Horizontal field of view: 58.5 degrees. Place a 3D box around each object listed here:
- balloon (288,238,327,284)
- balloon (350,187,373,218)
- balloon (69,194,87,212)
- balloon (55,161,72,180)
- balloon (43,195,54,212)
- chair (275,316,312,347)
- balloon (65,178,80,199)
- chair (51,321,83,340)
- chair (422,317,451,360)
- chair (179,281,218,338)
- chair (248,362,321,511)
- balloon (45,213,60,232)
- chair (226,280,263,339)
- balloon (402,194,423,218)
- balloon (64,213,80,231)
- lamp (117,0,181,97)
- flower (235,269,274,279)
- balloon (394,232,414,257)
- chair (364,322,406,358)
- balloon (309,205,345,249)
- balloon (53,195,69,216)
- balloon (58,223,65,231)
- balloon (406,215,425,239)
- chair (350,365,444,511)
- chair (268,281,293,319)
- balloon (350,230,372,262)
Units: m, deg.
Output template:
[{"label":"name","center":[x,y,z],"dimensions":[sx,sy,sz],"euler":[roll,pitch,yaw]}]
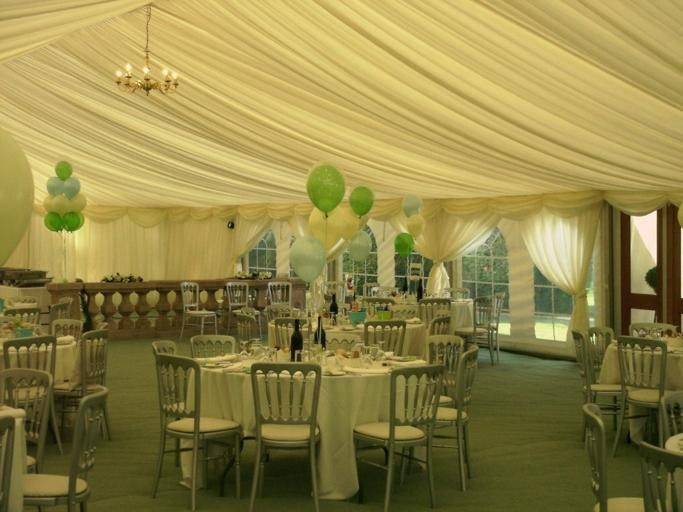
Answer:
[{"label":"balloon","center":[-0.314,0.048,5.745],"dimensions":[0.380,0.506,0.383],"euler":[-2,-13,-10]},{"label":"balloon","center":[0.254,-0.688,7.879],"dimensions":[0.326,0.436,0.338],"euler":[-1,11,-9]},{"label":"balloon","center":[-4.525,-0.888,10.602],"dimensions":[0.252,0.318,0.267],"euler":[6,32,0]},{"label":"balloon","center":[-4.716,-1.447,10.385],"dimensions":[0.209,0.350,0.320],"euler":[1,-6,-20]},{"label":"balloon","center":[-4.977,-0.907,10.394],"dimensions":[0.132,0.318,0.466],"euler":[2,-6,-28]},{"label":"chair","center":[-0.574,0.892,7.223],"dimensions":[0.455,0.477,0.488],"euler":[0,-5,6]},{"label":"balloon","center":[-4.585,-1.142,10.384],"dimensions":[0.234,0.358,0.270],"euler":[1,-6,-26]},{"label":"chair","center":[-3.032,0.825,6.746],"dimensions":[0.196,0.349,0.222],"euler":[0,-7,-4]},{"label":"chair","center":[1.187,0.901,7.387],"dimensions":[0.251,0.381,0.276],"euler":[1,-1,9]},{"label":"chair","center":[-2.838,1.025,12.092],"dimensions":[0.672,1.055,1.686],"euler":[0,-6,-15]},{"label":"chair","center":[-0.418,1.346,4.603],"dimensions":[0.550,1.096,0.446],"euler":[-1,-5,-3]},{"label":"balloon","center":[-4.899,-0.596,10.427],"dimensions":[0.272,0.284,0.260],"euler":[2,-6,-27]},{"label":"chair","center":[-1.951,0.977,12.099],"dimensions":[0.687,1.100,1.772],"euler":[0,-6,-10]},{"label":"balloon","center":[1.164,-0.808,10.087],"dimensions":[0.295,0.521,0.359],"euler":[2,1,20]},{"label":"balloon","center":[-4.625,-0.594,10.526],"dimensions":[0.278,0.296,0.294],"euler":[1,-6,-26]},{"label":"lamp","center":[-2.563,-2.652,8.050],"dimensions":[0.918,1.401,0.907],"euler":[-6,13,-38]},{"label":"flower","center":[-1.935,0.444,13.575],"dimensions":[0.803,0.238,0.948],"euler":[3,-7,-36]},{"label":"balloon","center":[1.041,-0.200,10.084],"dimensions":[0.292,0.393,0.368],"euler":[-1,-5,5]},{"label":"chair","center":[0.524,0.943,7.239],"dimensions":[0.398,0.733,0.437],"euler":[1,3,-1]},{"label":"balloon","center":[-0.227,-0.399,8.371],"dimensions":[0.446,0.562,0.297],"euler":[6,-9,-19]},{"label":"balloon","center":[-4.685,-0.851,10.243],"dimensions":[0.251,0.331,0.266],"euler":[3,21,9]},{"label":"balloon","center":[-4.833,-0.497,10.540],"dimensions":[0.074,0.114,0.028],"euler":[2,7,-6]},{"label":"balloon","center":[1.212,-0.475,9.964],"dimensions":[0.306,0.419,0.318],"euler":[3,8,37]},{"label":"chair","center":[0.443,1.401,4.889],"dimensions":[0.692,1.072,0.934],"euler":[-1,-5,0]},{"label":"chair","center":[-1.156,0.857,12.469],"dimensions":[0.579,1.081,0.681],"euler":[0,-4,-3]},{"label":"balloon","center":[0.346,-0.153,9.395],"dimensions":[0.364,0.502,0.411],"euler":[1,-2,4]}]
